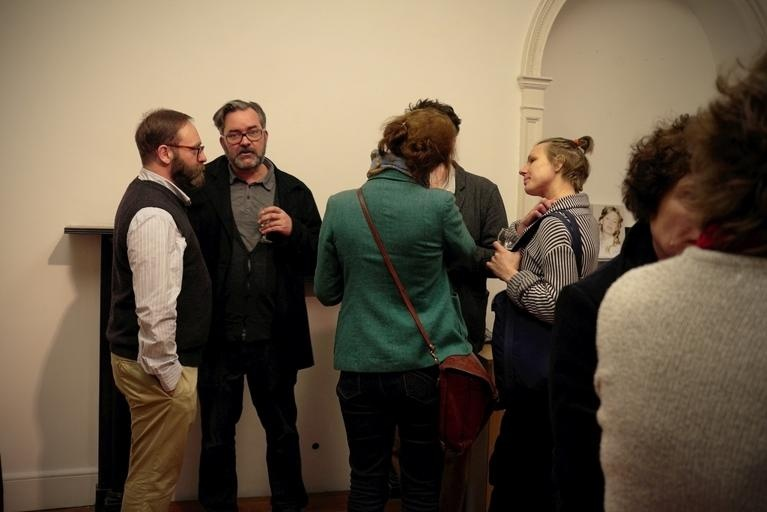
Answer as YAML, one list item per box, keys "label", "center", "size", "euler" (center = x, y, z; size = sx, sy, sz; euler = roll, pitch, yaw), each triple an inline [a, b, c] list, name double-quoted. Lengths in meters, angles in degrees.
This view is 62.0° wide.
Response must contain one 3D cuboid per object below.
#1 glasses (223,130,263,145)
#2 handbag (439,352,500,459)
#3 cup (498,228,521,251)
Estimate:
- label: "glasses"
  center: [-0.750, -0.647, 3.450]
  size: [0.106, 0.034, 0.108]
  euler: [-7, -12, -6]
- label: "handbag"
  center: [0.364, 0.647, 3.075]
  size: [0.346, 0.490, 0.499]
  euler: [3, -1, -1]
- label: "cup"
  center: [0.626, -0.080, 3.151]
  size: [0.110, 0.119, 0.104]
  euler: [14, -12, 3]
